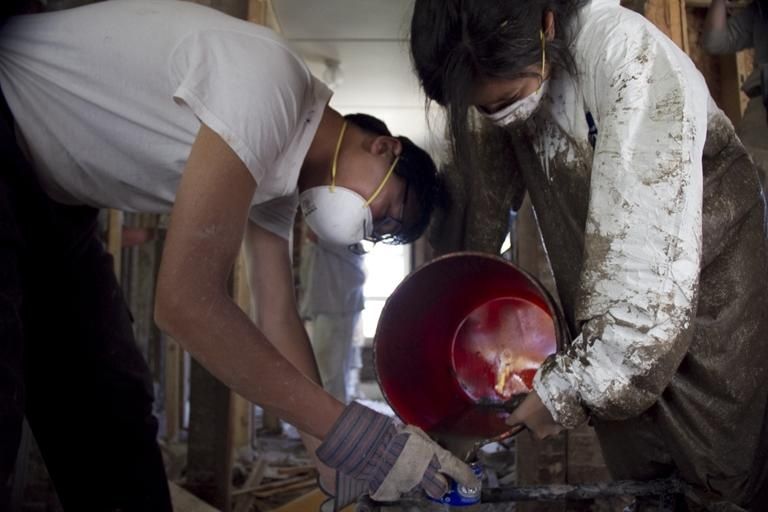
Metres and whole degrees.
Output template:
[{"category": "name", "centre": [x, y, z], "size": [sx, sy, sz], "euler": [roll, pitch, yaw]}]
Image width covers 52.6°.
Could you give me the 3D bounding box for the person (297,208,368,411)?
[{"category": "person", "centre": [-0.374, 0.429, 6.147], "size": [0.320, 1.721, 0.492], "euler": [-1, 9, -7]}]

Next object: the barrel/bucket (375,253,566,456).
[{"category": "barrel/bucket", "centre": [0.336, 0.390, 3.113], "size": [0.594, 0.755, 0.503], "euler": [-5, 3, 26]}]

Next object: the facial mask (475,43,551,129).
[{"category": "facial mask", "centre": [0.471, -0.597, 2.743], "size": [0.132, 0.261, 0.197], "euler": [-8, 21, -16]}]

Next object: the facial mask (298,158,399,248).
[{"category": "facial mask", "centre": [-0.122, -0.201, 2.785], "size": [0.073, 0.301, 0.573], "euler": [-1, -5, 27]}]

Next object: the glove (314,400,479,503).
[{"category": "glove", "centre": [0.064, 0.562, 2.576], "size": [0.441, 0.323, 0.461], "euler": [1, 9, 23]}]
